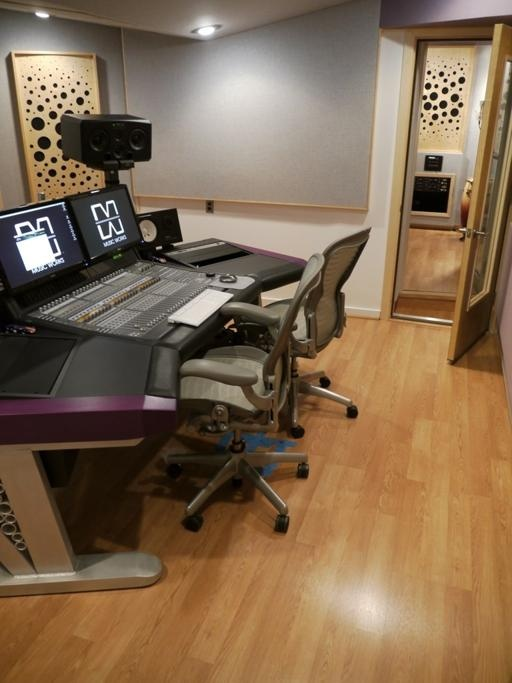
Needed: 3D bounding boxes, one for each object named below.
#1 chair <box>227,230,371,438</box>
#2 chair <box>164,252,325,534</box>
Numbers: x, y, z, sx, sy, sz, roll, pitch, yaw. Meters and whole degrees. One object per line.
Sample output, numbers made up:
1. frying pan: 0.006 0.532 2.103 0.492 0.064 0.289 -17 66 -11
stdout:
1. chair: 0.184 -0.107 2.504 0.707 0.975 0.679 16 29 37
2. chair: -0.070 0.166 1.842 0.537 0.971 0.612 9 24 16
